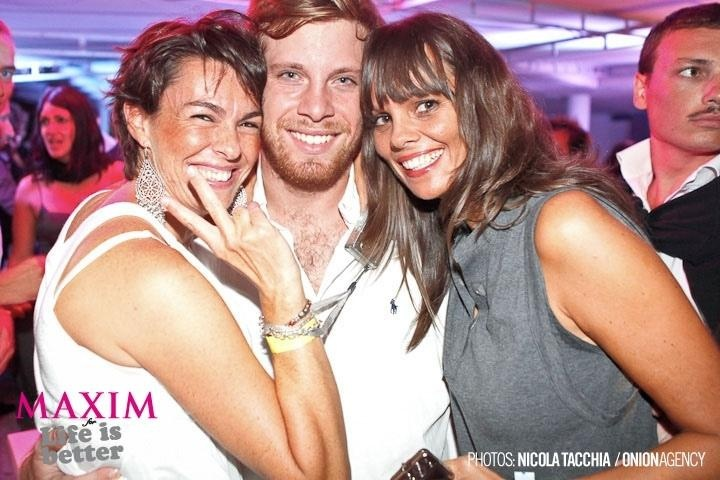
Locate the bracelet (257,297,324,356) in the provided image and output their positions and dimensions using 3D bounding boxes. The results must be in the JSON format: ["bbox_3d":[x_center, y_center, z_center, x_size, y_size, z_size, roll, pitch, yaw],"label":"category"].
[{"bbox_3d":[-0.317,0.436,2.848,0.251,0.262,0.130,-13,-32,23],"label":"bracelet"}]
